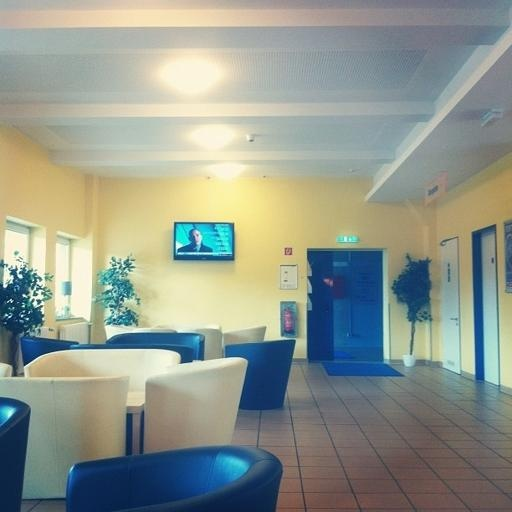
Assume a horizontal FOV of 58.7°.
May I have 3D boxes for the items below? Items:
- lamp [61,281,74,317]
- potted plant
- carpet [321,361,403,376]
[{"bbox_3d":[-3.733,0.821,8.929,0.198,0.747,0.736,3,-6,-21],"label":"lamp"},{"bbox_3d":[3.144,0.935,9.032,0.758,2.010,0.538,1,-6,-7],"label":"potted plant"},{"bbox_3d":[1.926,2.070,8.429,1.298,0.035,1.940,0,-5,4],"label":"carpet"}]
